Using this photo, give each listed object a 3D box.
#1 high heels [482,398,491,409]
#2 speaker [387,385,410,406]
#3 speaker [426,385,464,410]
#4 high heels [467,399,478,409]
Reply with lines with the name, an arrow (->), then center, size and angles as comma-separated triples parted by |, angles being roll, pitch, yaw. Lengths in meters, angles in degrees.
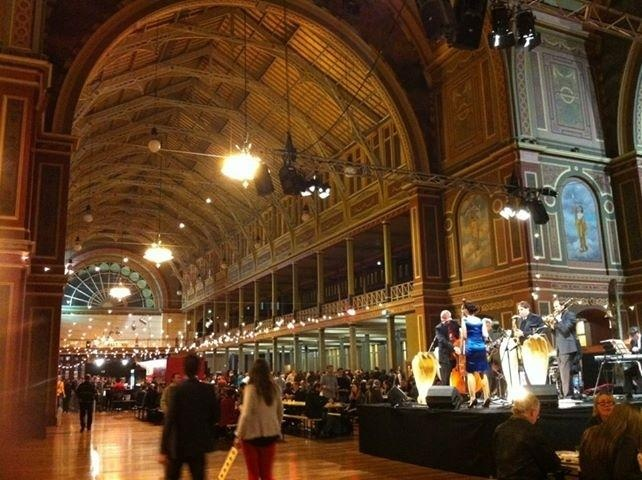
high heels -> 2.996, 2.945, 9.825 | 0.109, 0.153, 0.588 | -8, -16, 18
speaker -> 1.636, 3.278, 11.418 | 0.352, 0.444, 0.650 | -12, -3, -11
speaker -> 2.233, 2.835, 9.702 | 0.613, 0.429, 0.448 | -16, -7, 36
high heels -> 2.731, 2.937, 9.801 | 0.120, 0.141, 0.333 | -4, -3, -6
